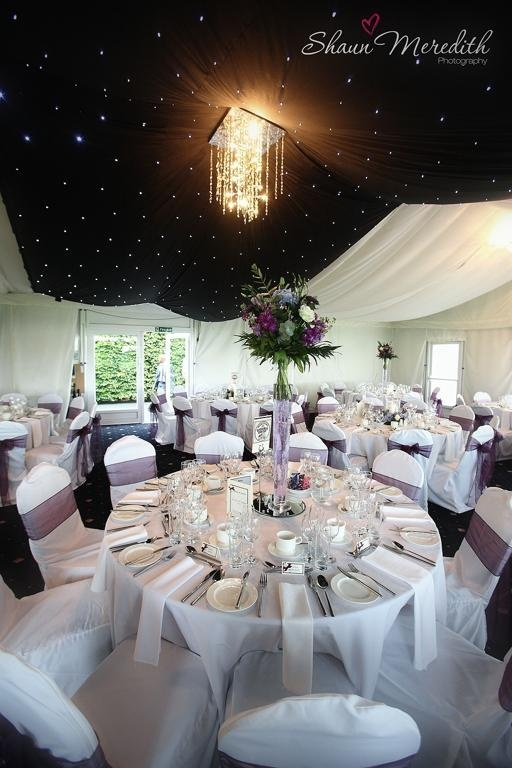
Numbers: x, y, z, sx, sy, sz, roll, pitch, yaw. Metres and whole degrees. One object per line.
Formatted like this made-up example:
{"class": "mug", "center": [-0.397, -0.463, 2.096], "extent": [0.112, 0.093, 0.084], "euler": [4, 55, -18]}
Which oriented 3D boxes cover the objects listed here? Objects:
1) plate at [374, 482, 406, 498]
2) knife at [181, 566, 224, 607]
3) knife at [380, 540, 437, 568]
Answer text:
{"class": "plate", "center": [0.773, 0.624, 2.575], "extent": [0.105, 0.031, 0.156], "euler": [-3, 14, -10]}
{"class": "knife", "center": [-0.186, 0.714, 1.581], "extent": [0.041, 0.015, 0.187], "euler": [1, 9, 13]}
{"class": "knife", "center": [0.625, 0.699, 1.825], "extent": [0.060, 0.020, 0.209], "euler": [-1, 3, -24]}
